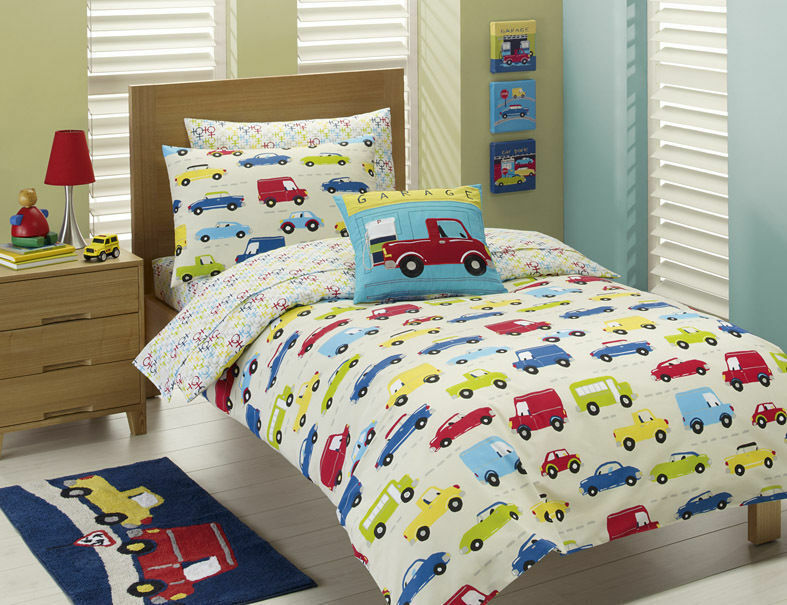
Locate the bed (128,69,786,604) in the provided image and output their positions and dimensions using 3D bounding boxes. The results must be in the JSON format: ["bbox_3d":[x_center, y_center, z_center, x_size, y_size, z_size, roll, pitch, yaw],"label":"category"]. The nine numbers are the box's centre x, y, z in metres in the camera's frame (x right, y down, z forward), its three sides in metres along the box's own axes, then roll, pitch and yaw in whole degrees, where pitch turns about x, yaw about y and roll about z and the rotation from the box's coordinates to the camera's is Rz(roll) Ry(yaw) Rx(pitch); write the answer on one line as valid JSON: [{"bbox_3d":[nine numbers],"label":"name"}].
[{"bbox_3d":[-0.373,-0.281,2.989,1.574,1.301,2.802,-16,27,-33],"label":"bed"}]

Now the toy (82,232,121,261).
[{"bbox_3d":[-1.145,-0.213,2.891,0.101,0.076,0.155,3,6,22],"label":"toy"}]

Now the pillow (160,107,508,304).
[{"bbox_3d":[-0.292,-0.389,2.779,1.199,0.559,1.028,-9,16,-28],"label":"pillow"}]

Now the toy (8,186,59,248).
[{"bbox_3d":[-1.408,-0.323,2.789,0.152,0.218,0.176,9,23,44],"label":"toy"}]
